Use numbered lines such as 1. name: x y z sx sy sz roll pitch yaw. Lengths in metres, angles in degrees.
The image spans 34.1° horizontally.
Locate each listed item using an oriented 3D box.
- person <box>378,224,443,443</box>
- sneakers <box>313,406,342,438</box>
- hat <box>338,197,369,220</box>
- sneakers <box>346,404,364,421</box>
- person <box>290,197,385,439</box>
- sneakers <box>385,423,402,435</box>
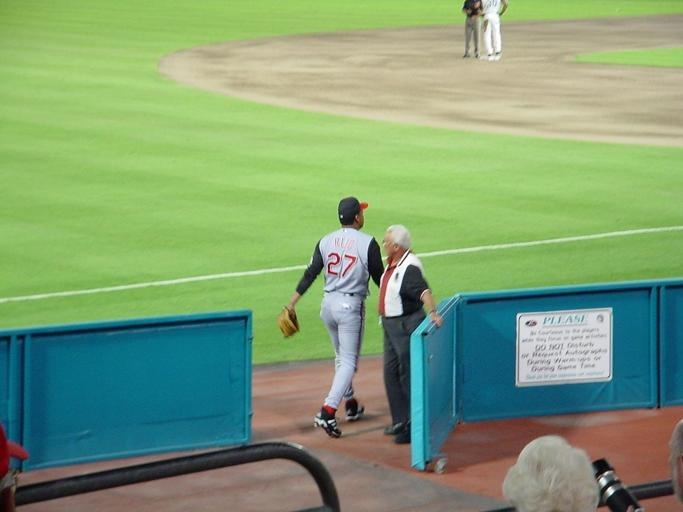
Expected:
1. person: 0.622 0.725 10.509 0.518 2.018 0.225 1 7 32
2. sneakers: -0.106 1.575 10.744 0.179 0.288 0.508 9 -16 24
3. hat: 0.119 -0.481 10.937 0.286 0.161 0.194 -30 36 -22
4. sneakers: 0.128 1.561 11.165 0.093 0.120 0.261 6 14 30
5. person: 0.007 0.587 10.804 0.837 2.290 0.701 -3 6 -5
6. sneakers: 0.495 1.666 10.676 0.215 0.086 0.078 -28 19 52
